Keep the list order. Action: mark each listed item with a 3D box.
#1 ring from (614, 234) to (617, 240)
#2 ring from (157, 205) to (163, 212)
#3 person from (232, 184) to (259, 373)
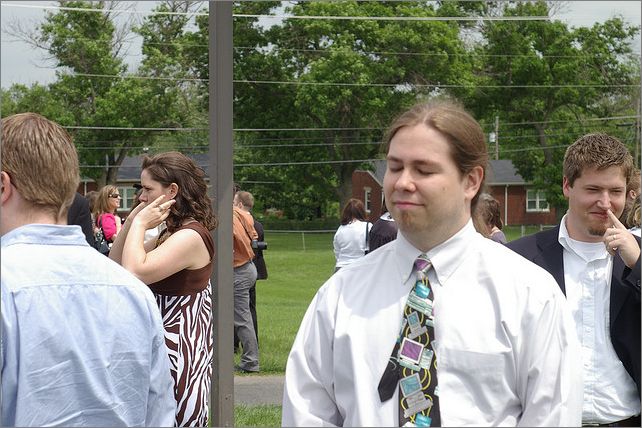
[{"bbox_3d":[4.837,0.373,16.400,0.051,0.083,0.012,1,1,14],"label":"ring"},{"bbox_3d":[-2.739,-0.105,16.890,0.022,0.071,0.076,-38,-54,22],"label":"ring"},{"bbox_3d":[-1.585,1.584,20.739,0.591,3.449,0.544,0,1,-17],"label":"person"}]
